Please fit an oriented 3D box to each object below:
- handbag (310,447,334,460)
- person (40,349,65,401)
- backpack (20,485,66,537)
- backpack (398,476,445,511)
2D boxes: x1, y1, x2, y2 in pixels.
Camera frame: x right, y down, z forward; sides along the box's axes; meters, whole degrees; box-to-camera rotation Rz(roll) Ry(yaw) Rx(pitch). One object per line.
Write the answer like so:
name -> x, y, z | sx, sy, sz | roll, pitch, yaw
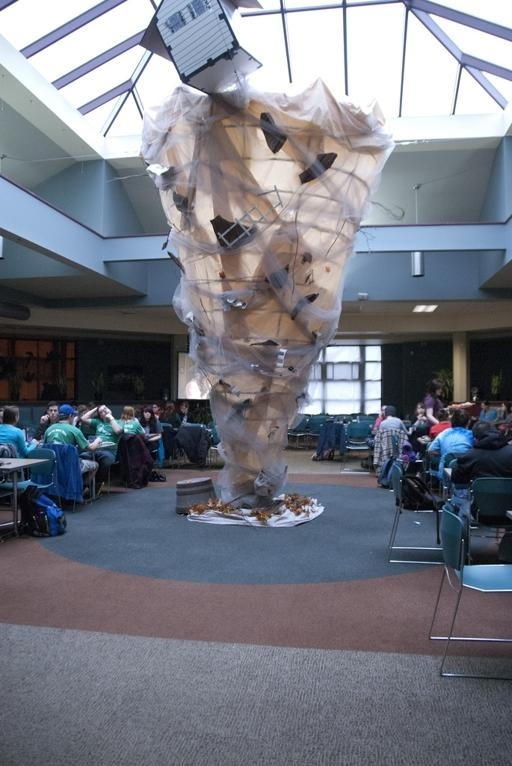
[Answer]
handbag -> 1.346, 1.447, 11.595 | 0.348, 0.140, 0.155 | -10, 43, -14
person -> -5.275, -0.224, 15.128 | 0.549, 1.129, 0.708 | 2, 1, -39
backpack -> -1.861, 1.154, 5.046 | 0.335, 0.442, 0.355 | -8, -7, -5
backpack -> 1.215, 0.821, 4.238 | 0.284, 0.245, 0.286 | 1, -1, 2
